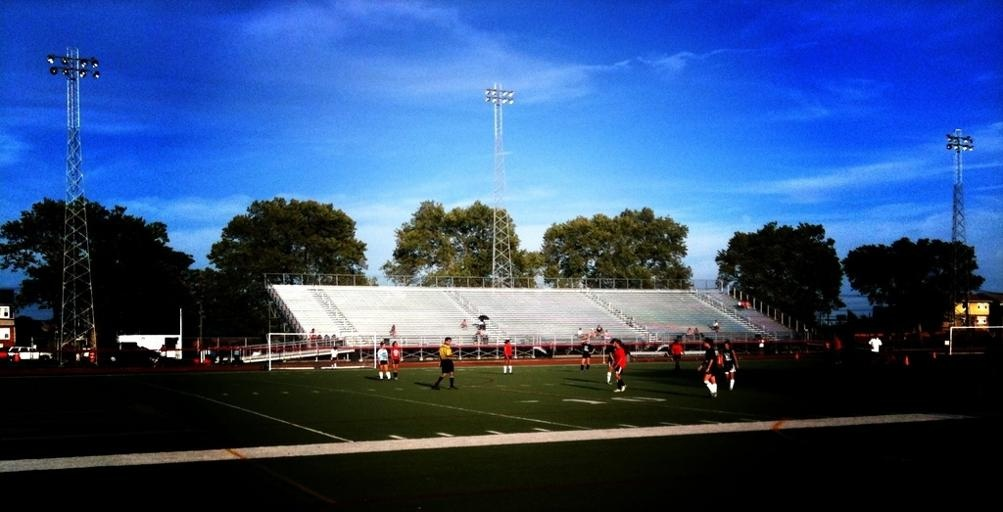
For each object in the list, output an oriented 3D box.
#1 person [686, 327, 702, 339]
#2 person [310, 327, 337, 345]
[{"bbox_3d":[20.630,8.280,96.518,1.673,0.809,1.450,1,-3,-3],"label":"person"},{"bbox_3d":[-16.437,7.550,83.589,3.022,0.858,1.548,0,1,-20],"label":"person"}]
